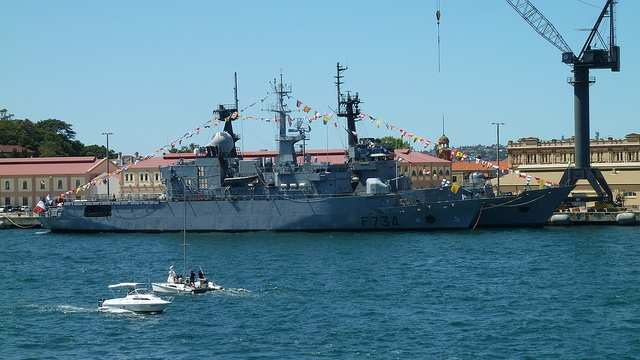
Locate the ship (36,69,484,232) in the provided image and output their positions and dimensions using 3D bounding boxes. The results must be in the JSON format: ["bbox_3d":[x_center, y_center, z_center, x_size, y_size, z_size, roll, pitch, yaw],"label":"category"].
[{"bbox_3d":[-6.225,0.506,118.792,62.700,15.796,12.879,1,-1,-13],"label":"ship"}]

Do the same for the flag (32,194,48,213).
[{"bbox_3d":[-30.149,2.437,132.232,1.849,1.536,0.248,19,32,-12],"label":"flag"}]
